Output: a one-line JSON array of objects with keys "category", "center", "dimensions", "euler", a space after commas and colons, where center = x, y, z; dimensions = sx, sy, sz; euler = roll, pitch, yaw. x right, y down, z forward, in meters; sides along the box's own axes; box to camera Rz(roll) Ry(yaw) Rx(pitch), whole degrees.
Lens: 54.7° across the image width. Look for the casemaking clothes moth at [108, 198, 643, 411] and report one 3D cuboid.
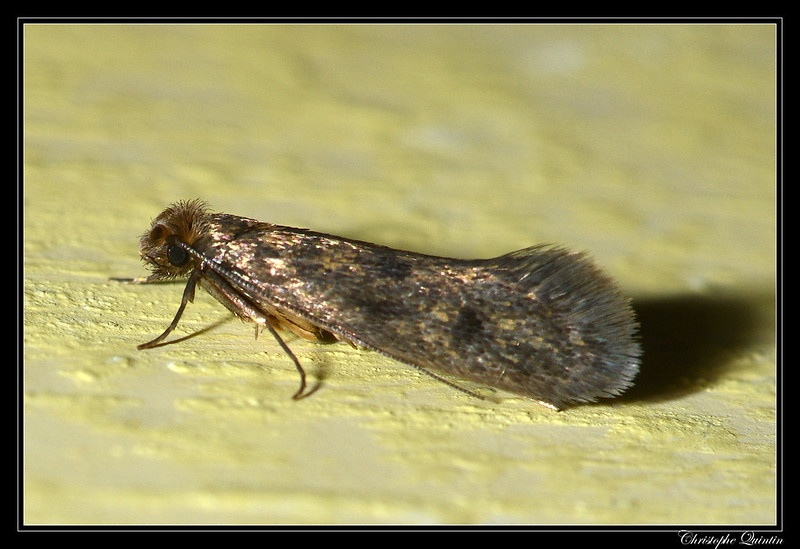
[{"category": "casemaking clothes moth", "center": [-0.058, 0.177, 4.310], "dimensions": [2.729, 0.921, 0.691], "euler": [14, 31, 10]}]
